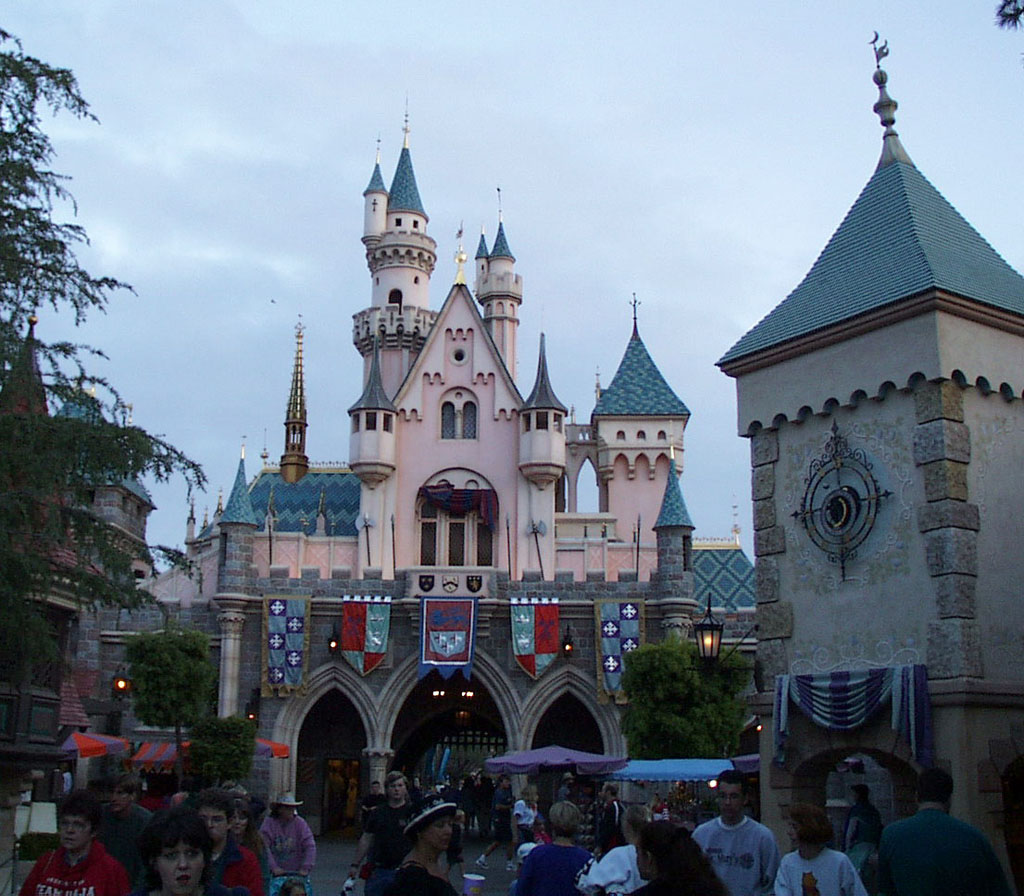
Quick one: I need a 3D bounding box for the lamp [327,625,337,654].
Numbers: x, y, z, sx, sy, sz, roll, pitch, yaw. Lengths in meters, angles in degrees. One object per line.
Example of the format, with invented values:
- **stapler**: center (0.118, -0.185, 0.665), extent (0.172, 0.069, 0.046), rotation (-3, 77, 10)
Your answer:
- **lamp**: center (-4.271, 4.564, 36.353), extent (0.270, 0.515, 0.519), rotation (-2, 14, -8)
